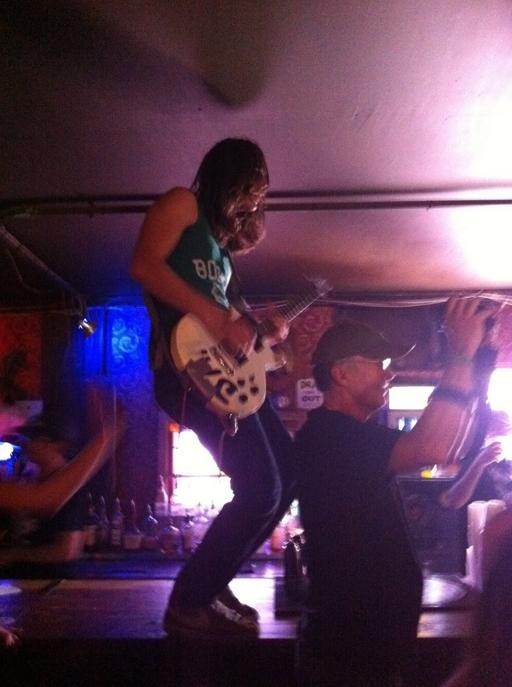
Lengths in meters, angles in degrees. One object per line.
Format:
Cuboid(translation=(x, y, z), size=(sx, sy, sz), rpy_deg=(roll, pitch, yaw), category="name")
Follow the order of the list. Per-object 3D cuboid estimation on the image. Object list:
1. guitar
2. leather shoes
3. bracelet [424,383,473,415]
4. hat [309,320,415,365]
Cuboid(translation=(0.005, -0.013, 1.400), size=(0.046, 0.173, 0.355), rpy_deg=(-24, 22, 47), category="guitar")
Cuboid(translation=(-0.092, 0.581, 1.374), size=(0.136, 0.058, 0.100), rpy_deg=(5, -10, -15), category="leather shoes")
Cuboid(translation=(0.447, 0.122, 1.449), size=(0.057, 0.020, 0.079), rpy_deg=(29, -17, -26), category="bracelet")
Cuboid(translation=(0.264, -0.001, 1.536), size=(0.178, 0.076, 0.119), rpy_deg=(-3, -2, 1), category="hat")
